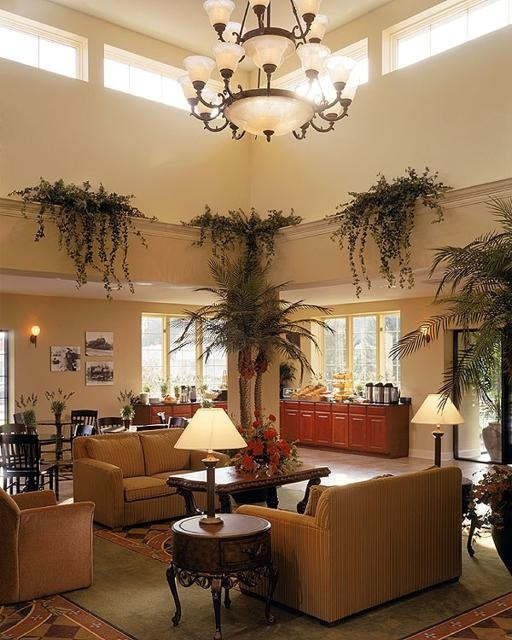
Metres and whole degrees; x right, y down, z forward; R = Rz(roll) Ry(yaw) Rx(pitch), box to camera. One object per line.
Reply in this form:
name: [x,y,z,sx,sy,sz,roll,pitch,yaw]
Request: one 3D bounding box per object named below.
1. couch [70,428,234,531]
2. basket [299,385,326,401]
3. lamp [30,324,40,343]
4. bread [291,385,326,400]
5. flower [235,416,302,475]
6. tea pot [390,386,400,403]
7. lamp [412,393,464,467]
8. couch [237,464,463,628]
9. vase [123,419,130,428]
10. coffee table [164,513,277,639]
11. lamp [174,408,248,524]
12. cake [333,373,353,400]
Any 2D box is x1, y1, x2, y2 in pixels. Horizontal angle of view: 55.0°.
couch: [-1.235,1.835,5.799,0.817,0.982,1.579,-7,-12,39]
basket: [1.340,1.728,11.690,0.686,0.352,0.708,-2,-9,6]
lamp: [-4.538,0.284,10.154,0.212,0.390,0.125,8,-13,-43]
bread: [1.279,1.740,11.833,0.397,0.177,0.515,-1,1,-34]
flower: [0.104,1.249,4.900,0.706,0.637,0.690,2,-5,-21]
tea pot: [2.954,1.591,10.415,0.135,0.339,0.441,-7,-11,34]
lamp: [1.624,1.063,4.411,0.411,0.637,0.400,24,-28,-32]
couch: [0.701,1.389,3.315,1.265,0.729,0.711,5,-9,-35]
vase: [-2.260,1.803,8.565,0.134,0.138,0.137,-4,-8,21]
coffee table: [-0.276,1.342,2.814,0.665,0.629,0.657,3,-9,-23]
lamp: [-0.258,0.861,2.871,0.446,0.632,0.439,-8,-15,25]
cake: [2.050,1.539,11.584,0.534,0.566,0.523,2,-7,-26]
